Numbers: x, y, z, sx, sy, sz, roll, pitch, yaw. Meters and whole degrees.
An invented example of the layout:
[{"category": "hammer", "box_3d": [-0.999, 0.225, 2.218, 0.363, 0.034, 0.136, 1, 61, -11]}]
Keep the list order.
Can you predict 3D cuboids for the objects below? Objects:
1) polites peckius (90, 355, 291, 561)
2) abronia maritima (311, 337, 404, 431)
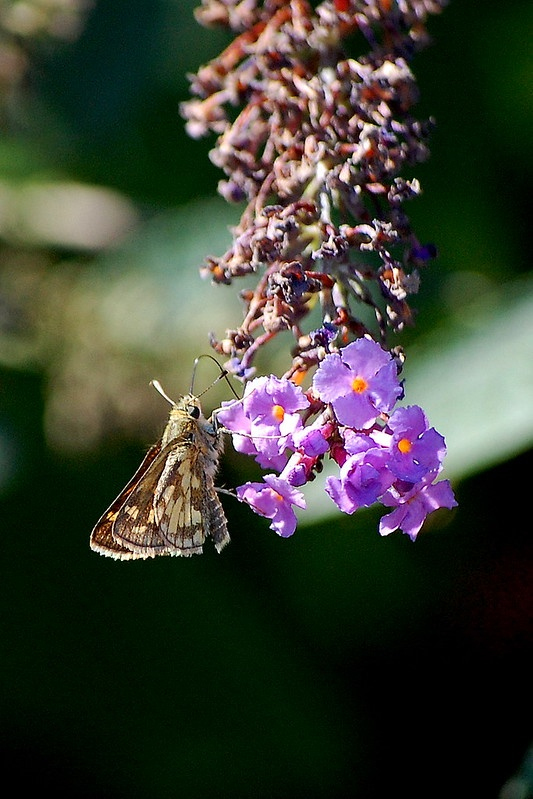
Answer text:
[{"category": "polites peckius", "box_3d": [-0.264, 0.121, 2.375, 0.419, 0.541, 0.335, 1, 5, -2]}, {"category": "abronia maritima", "box_3d": [0.169, -0.032, 1.659, 0.184, 0.170, 0.047, -14, 5, 5]}]
